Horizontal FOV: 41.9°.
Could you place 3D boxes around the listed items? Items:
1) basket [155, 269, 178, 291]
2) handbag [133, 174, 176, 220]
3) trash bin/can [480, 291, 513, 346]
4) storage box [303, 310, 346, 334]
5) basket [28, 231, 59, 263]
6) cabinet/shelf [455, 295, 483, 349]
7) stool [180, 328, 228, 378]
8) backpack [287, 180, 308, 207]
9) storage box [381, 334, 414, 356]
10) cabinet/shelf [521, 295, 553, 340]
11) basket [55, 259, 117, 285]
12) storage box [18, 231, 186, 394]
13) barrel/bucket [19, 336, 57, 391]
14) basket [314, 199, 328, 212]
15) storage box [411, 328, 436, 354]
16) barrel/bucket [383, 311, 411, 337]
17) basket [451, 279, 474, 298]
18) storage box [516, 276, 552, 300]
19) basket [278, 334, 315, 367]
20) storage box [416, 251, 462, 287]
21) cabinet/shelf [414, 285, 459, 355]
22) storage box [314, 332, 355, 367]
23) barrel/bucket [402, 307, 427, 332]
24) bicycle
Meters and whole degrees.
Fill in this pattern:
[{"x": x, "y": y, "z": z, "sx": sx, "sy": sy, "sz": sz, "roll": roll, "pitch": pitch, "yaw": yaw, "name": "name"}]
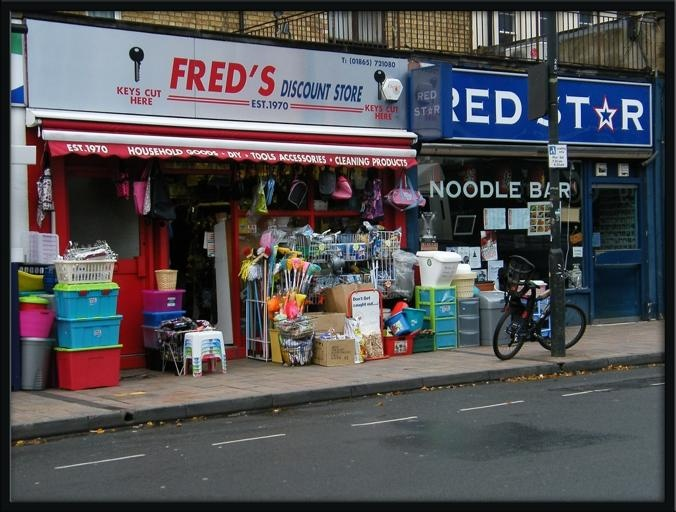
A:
[{"x": -2.718, "y": 0.378, "z": 14.010, "sx": 0.307, "sy": 0.267, "sz": 0.328, "roll": -1, "pitch": -6, "yaw": 8, "name": "basket"}, {"x": -2.911, "y": -0.907, "z": 13.937, "sx": 0.589, "sy": 0.615, "sz": 0.169, "roll": -4, "pitch": 2, "yaw": -15, "name": "handbag"}, {"x": 2.805, "y": 1.153, "z": 16.226, "sx": 0.686, "sy": 0.903, "sz": 0.555, "roll": 0, "pitch": -1, "yaw": -28, "name": "trash bin/can"}, {"x": -0.165, "y": 1.063, "z": 14.299, "sx": 0.389, "sy": 0.271, "sz": 0.399, "roll": 2, "pitch": -4, "yaw": -24, "name": "storage box"}, {"x": -4.385, "y": -0.108, "z": 13.094, "sx": 0.439, "sy": 0.476, "sz": 0.445, "roll": 1, "pitch": -1, "yaw": -25, "name": "basket"}, {"x": 2.367, "y": 1.193, "z": 16.252, "sx": 0.505, "sy": 0.888, "sz": 0.557, "roll": -1, "pitch": 3, "yaw": 9, "name": "cabinet/shelf"}, {"x": -2.052, "y": 1.471, "z": 13.412, "sx": 0.660, "sy": 0.605, "sz": 0.370, "roll": -4, "pitch": 2, "yaw": -13, "name": "stool"}, {"x": -0.741, "y": -1.125, "z": 15.620, "sx": 0.298, "sy": 0.461, "sz": 0.239, "roll": 17, "pitch": 7, "yaw": -24, "name": "backpack"}, {"x": 1.011, "y": 1.512, "z": 15.135, "sx": 0.427, "sy": 0.287, "sz": 0.325, "roll": -1, "pitch": 1, "yaw": -28, "name": "storage box"}, {"x": 3.728, "y": 1.127, "z": 16.029, "sx": 0.365, "sy": 0.714, "sz": 0.693, "roll": -10, "pitch": -12, "yaw": 31, "name": "cabinet/shelf"}, {"x": -3.600, "y": 0.226, "z": 12.552, "sx": 0.603, "sy": 0.290, "sz": 0.398, "roll": 1, "pitch": -1, "yaw": -36, "name": "basket"}, {"x": -3.489, "y": 0.753, "z": 12.884, "sx": 1.592, "sy": 2.124, "sz": 1.302, "roll": -2, "pitch": 9, "yaw": -44, "name": "storage box"}, {"x": -4.243, "y": 1.472, "z": 12.370, "sx": 0.519, "sy": 0.762, "sz": 0.543, "roll": 3, "pitch": -4, "yaw": 0, "name": "barrel/bucket"}, {"x": -0.313, "y": -0.908, "z": 15.976, "sx": 0.296, "sy": 0.220, "sz": 0.165, "roll": -1, "pitch": 7, "yaw": -22, "name": "basket"}, {"x": 1.507, "y": 1.487, "z": 15.472, "sx": 0.361, "sy": 0.296, "sz": 0.362, "roll": 0, "pitch": -2, "yaw": -26, "name": "storage box"}, {"x": 1.036, "y": 1.153, "z": 15.158, "sx": 0.450, "sy": 0.297, "sz": 0.305, "roll": -3, "pitch": 2, "yaw": 3, "name": "barrel/bucket"}, {"x": 2.300, "y": 0.590, "z": 16.096, "sx": 0.342, "sy": 0.279, "sz": 0.313, "roll": 0, "pitch": -4, "yaw": -17, "name": "basket"}, {"x": 3.534, "y": 0.727, "z": 15.817, "sx": 0.639, "sy": 0.624, "sz": 0.374, "roll": 1, "pitch": 7, "yaw": 11, "name": "storage box"}, {"x": -0.650, "y": 1.527, "z": 14.091, "sx": 0.490, "sy": 0.387, "sz": 0.413, "roll": 1, "pitch": -3, "yaw": -11, "name": "basket"}, {"x": 1.802, "y": 0.262, "z": 15.973, "sx": 0.565, "sy": 0.607, "sz": 0.670, "roll": 2, "pitch": 2, "yaw": -37, "name": "storage box"}, {"x": 2.181, "y": 1.137, "z": 15.948, "sx": 0.542, "sy": 1.150, "sz": 0.913, "roll": 3, "pitch": -7, "yaw": -19, "name": "cabinet/shelf"}, {"x": -0.092, "y": 1.469, "z": 14.233, "sx": 0.509, "sy": 0.372, "sz": 0.535, "roll": 2, "pitch": -2, "yaw": -19, "name": "storage box"}, {"x": 1.337, "y": 1.118, "z": 15.346, "sx": 0.353, "sy": 0.312, "sz": 0.387, "roll": 0, "pitch": -11, "yaw": 0, "name": "barrel/bucket"}, {"x": 3.358, "y": 0.897, "z": 15.301, "sx": 2.039, "sy": 1.676, "sz": 1.252, "roll": 1, "pitch": 0, "yaw": -36, "name": "bicycle"}]
